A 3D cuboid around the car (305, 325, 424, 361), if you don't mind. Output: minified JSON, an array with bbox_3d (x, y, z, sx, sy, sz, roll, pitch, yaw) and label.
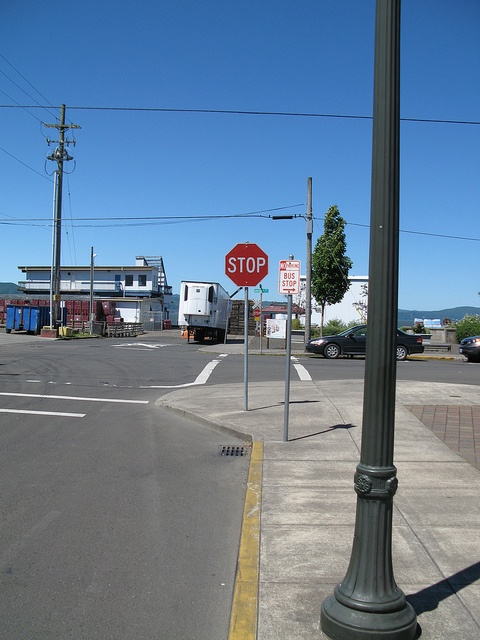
[{"bbox_3d":[3.945,0.812,17.737,2.368,1.052,1.180,3,-2,7],"label":"car"}]

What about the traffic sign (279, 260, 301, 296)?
[{"bbox_3d":[0.639,-0.557,6.964,0.327,0.455,0.330,1,1,22],"label":"traffic sign"}]

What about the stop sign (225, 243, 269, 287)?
[{"bbox_3d":[0.082,-0.874,8.574,0.618,0.703,0.400,1,1,32],"label":"stop sign"}]

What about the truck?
[{"bbox_3d":[-2.338,-0.658,35.555,1.869,3.416,5.732,1,5,3],"label":"truck"}]
